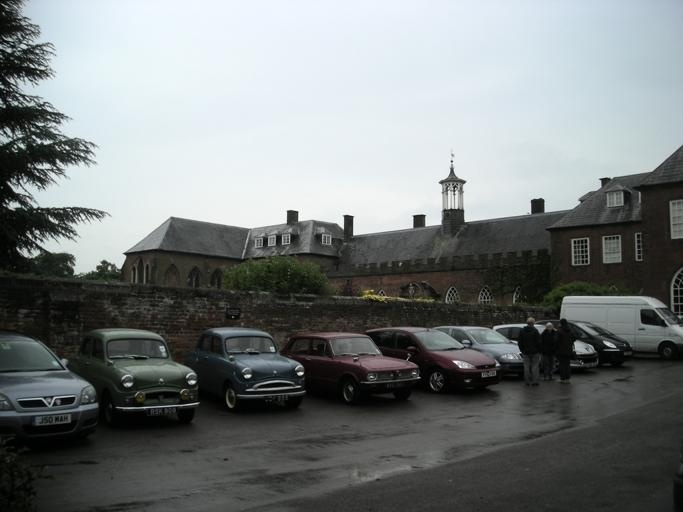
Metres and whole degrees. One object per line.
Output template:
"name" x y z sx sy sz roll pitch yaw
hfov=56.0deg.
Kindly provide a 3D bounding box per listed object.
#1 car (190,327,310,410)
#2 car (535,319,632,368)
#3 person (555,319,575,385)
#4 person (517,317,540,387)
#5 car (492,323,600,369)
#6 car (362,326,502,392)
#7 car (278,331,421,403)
"car" -2.225 2.667 15.562 1.530 1.232 2.651 -1 -2 -39
"car" 9.144 3.328 24.323 1.662 1.425 2.958 1 -3 -42
"person" 6.842 2.894 19.611 0.514 1.730 1.115 -2 -1 20
"person" 5.645 2.840 19.206 0.657 1.814 0.866 -2 -1 17
"car" 7.108 3.297 23.006 3.624 1.598 1.793 -6 -5 44
"car" 2.530 2.839 18.314 1.571 1.225 3.377 3 -4 -42
"car" 0.073 2.826 16.810 1.673 1.286 3.097 4 -6 -37
